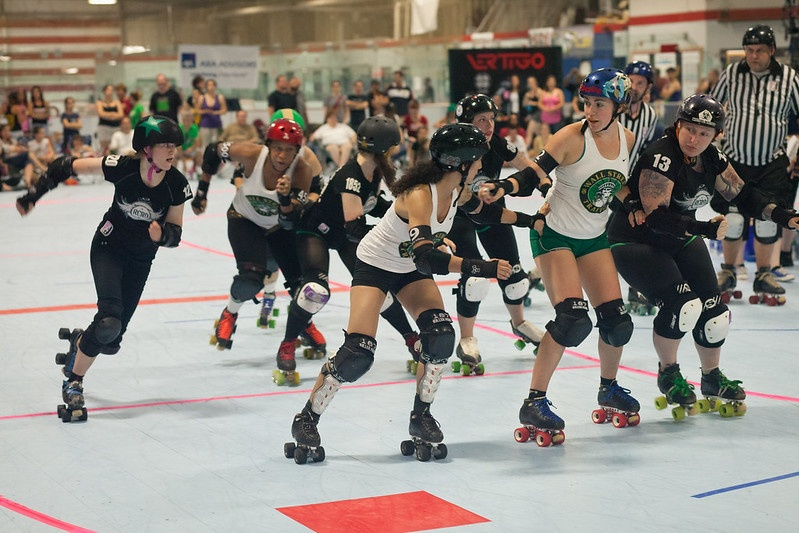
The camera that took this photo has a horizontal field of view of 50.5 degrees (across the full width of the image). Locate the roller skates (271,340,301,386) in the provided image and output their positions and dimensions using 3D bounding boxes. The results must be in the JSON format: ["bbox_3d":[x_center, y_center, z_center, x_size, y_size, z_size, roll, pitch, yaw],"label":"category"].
[{"bbox_3d":[-0.992,0.870,7.414,0.156,0.290,0.461,0,4,-9],"label":"roller skates"}]

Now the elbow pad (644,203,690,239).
[{"bbox_3d":[2.023,-0.321,6.300,0.250,0.204,0.124,26,-19,22],"label":"elbow pad"}]

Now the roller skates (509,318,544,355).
[{"bbox_3d":[1.134,0.646,7.987,0.158,0.209,0.464,-12,21,-42],"label":"roller skates"}]

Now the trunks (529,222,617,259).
[{"bbox_3d":[1.237,-0.168,6.344,0.306,0.204,0.392,-9,5,-26],"label":"trunks"}]

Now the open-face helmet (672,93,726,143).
[{"bbox_3d":[2.243,-1.130,6.365,0.284,0.334,0.360,20,18,7],"label":"open-face helmet"}]

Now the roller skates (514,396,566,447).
[{"bbox_3d":[1.028,1.134,6.225,0.263,0.322,0.408,0,1,-35],"label":"roller skates"}]

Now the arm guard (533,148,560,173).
[{"bbox_3d":[1.101,-0.768,6.262,0.158,0.162,0.124,-11,4,36],"label":"arm guard"}]

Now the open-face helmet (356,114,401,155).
[{"bbox_3d":[-0.201,-1.089,7.119,0.362,0.285,0.262,-22,29,-16],"label":"open-face helmet"}]

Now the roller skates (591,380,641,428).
[{"bbox_3d":[1.659,1.056,6.568,0.263,0.298,0.393,-1,5,-34],"label":"roller skates"}]

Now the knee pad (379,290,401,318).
[{"bbox_3d":[-0.097,0.324,6.900,0.159,0.194,0.155,26,30,5],"label":"knee pad"}]

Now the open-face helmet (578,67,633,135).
[{"bbox_3d":[1.536,-1.229,6.266,0.386,0.429,0.235,0,14,2],"label":"open-face helmet"}]

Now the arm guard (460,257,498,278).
[{"bbox_3d":[0.540,0.013,5.646,0.244,0.131,0.136,0,14,5],"label":"arm guard"}]

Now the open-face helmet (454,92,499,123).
[{"bbox_3d":[0.626,-1.287,7.001,0.305,0.289,0.239,-4,10,24],"label":"open-face helmet"}]

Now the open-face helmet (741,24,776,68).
[{"bbox_3d":[3.945,-2.370,9.227,0.379,0.484,0.489,-1,9,22],"label":"open-face helmet"}]

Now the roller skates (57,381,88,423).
[{"bbox_3d":[-2.560,1.064,6.603,0.145,0.238,0.451,1,0,-22],"label":"roller skates"}]

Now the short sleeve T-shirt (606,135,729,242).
[{"bbox_3d":[2.035,-0.585,6.442,0.797,0.862,0.555,20,17,-50],"label":"short sleeve T-shirt"}]

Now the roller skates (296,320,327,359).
[{"bbox_3d":[-0.892,0.717,8.165,0.162,0.311,0.523,-2,4,-28],"label":"roller skates"}]

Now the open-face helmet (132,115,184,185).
[{"bbox_3d":[-1.823,-0.952,6.768,0.440,0.590,0.397,1,8,10],"label":"open-face helmet"}]

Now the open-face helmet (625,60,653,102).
[{"bbox_3d":[2.525,-1.928,8.839,0.336,0.437,0.442,1,4,6],"label":"open-face helmet"}]

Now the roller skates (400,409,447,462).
[{"bbox_3d":[0.131,1.238,6.016,0.206,0.278,0.372,2,-3,-30],"label":"roller skates"}]

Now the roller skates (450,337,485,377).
[{"bbox_3d":[0.626,0.824,7.590,0.169,0.259,0.441,1,-5,-8],"label":"roller skates"}]

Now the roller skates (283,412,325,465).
[{"bbox_3d":[-0.679,1.278,6.036,0.173,0.266,0.337,3,-1,-25],"label":"roller skates"}]

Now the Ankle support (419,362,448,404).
[{"bbox_3d":[0.224,0.818,5.996,0.197,0.325,0.095,1,14,7],"label":"Ankle support"}]
